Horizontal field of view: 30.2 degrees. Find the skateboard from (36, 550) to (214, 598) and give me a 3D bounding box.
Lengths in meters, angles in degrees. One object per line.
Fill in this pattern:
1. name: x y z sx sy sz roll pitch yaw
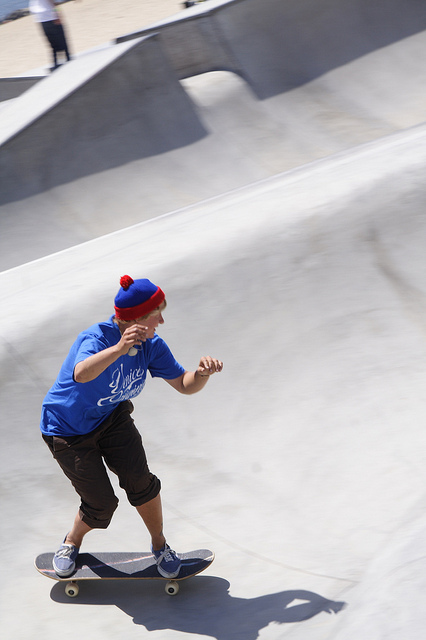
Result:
1. skateboard: -0.259 1.119 3.561 1.045 0.144 0.255 0 20 1
